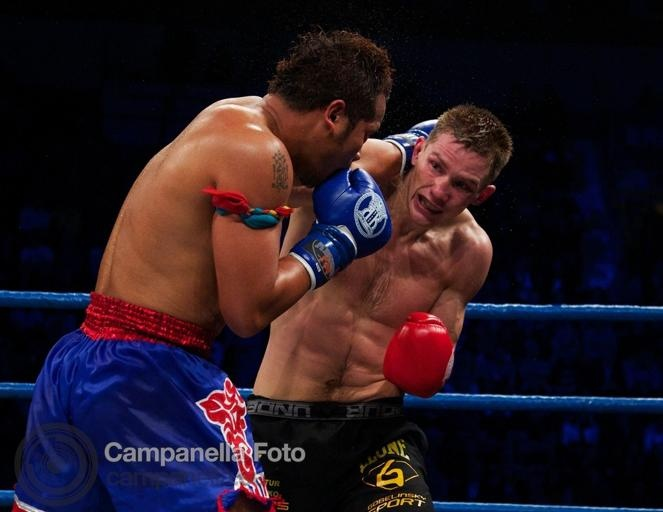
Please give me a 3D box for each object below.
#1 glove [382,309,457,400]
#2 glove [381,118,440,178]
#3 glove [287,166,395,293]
[{"bbox_3d":[0.402,0.447,3.783,0.270,0.369,0.352,17,-13,31],"label":"glove"},{"bbox_3d":[0.382,-0.530,3.943,0.283,0.174,0.213,-40,40,-18],"label":"glove"},{"bbox_3d":[0.002,-0.078,3.454,0.483,0.380,0.230,-29,-24,3],"label":"glove"}]
